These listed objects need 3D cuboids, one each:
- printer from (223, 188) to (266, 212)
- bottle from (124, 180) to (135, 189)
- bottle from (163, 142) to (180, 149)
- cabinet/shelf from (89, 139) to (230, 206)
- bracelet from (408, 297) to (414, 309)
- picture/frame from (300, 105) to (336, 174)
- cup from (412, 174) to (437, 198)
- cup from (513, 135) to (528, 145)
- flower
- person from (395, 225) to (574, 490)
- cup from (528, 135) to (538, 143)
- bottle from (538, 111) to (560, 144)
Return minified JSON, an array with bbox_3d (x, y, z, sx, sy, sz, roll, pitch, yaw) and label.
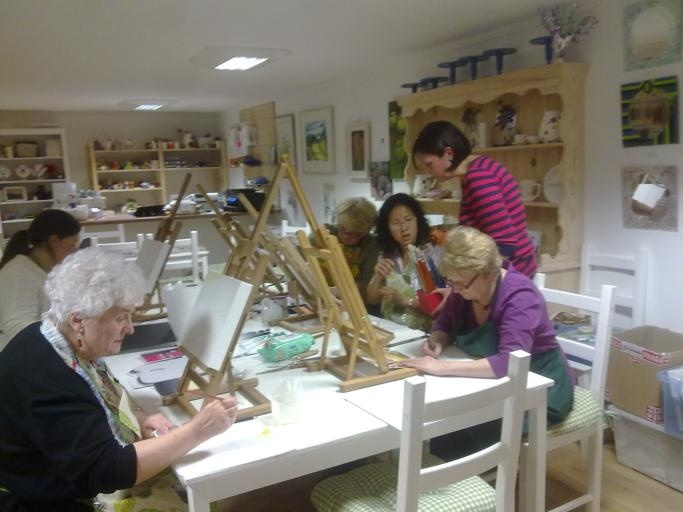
[{"bbox_3d":[-1.239,-0.727,6.500,0.488,0.278,1.313,-4,12,-6],"label":"printer"},{"bbox_3d":[-3.344,-1.128,8.050,0.159,0.111,0.155,2,0,0],"label":"bottle"},{"bbox_3d":[-2.723,-1.774,8.156,0.231,0.117,0.084,-6,13,-16],"label":"bottle"},{"bbox_3d":[-2.950,-1.368,8.204,1.984,1.050,0.505,-9,14,-25],"label":"cabinet/shelf"},{"bbox_3d":[0.357,0.245,2.646,0.036,0.039,0.035,-18,24,-41],"label":"bracelet"},{"bbox_3d":[-0.255,-1.349,5.796,0.089,0.864,0.794,-9,12,-33],"label":"picture/frame"},{"bbox_3d":[0.670,-0.569,4.163,0.226,0.211,0.151,3,-1,-38],"label":"cup"},{"bbox_3d":[1.192,-0.778,3.413,0.087,0.056,0.075,-1,4,-9],"label":"cup"},{"bbox_3d":[1.363,-1.382,3.119,0.252,0.339,0.333,-15,17,-43],"label":"flower"},{"bbox_3d":[0.608,0.486,2.094,0.751,1.105,0.577,3,-2,-21],"label":"person"},{"bbox_3d":[1.258,-0.773,3.344,0.049,0.035,0.050,-2,2,0],"label":"cup"},{"bbox_3d":[1.310,-0.820,3.226,0.132,0.195,0.083,5,15,30],"label":"bottle"}]
